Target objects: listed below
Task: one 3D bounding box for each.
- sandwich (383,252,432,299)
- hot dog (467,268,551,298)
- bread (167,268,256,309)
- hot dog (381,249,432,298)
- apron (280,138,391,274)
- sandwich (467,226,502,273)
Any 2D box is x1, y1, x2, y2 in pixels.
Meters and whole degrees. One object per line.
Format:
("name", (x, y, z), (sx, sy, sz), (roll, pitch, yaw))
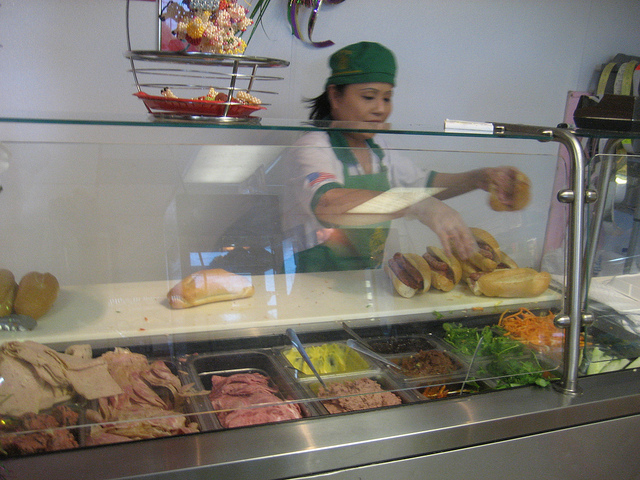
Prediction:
("sandwich", (0.201, 0.071, 1.084), (0.103, 0.042, 0.115), (-8, 44, 0))
("hot dog", (0.436, 0.101, 1.113), (0.177, 0.046, 0.075), (0, 8, 0))
("bread", (-0.217, 0.095, 0.943), (0.182, 0.048, 0.078), (-4, 23, -19))
("hot dog", (0.202, 0.070, 1.079), (0.096, 0.043, 0.110), (-20, 48, -8))
("apron", (0.028, -0.070, 1.020), (0.255, 0.282, 0.053), (-6, 15, -17))
("sandwich", (0.385, 0.024, 1.099), (0.082, 0.104, 0.039), (-40, 5, -33))
